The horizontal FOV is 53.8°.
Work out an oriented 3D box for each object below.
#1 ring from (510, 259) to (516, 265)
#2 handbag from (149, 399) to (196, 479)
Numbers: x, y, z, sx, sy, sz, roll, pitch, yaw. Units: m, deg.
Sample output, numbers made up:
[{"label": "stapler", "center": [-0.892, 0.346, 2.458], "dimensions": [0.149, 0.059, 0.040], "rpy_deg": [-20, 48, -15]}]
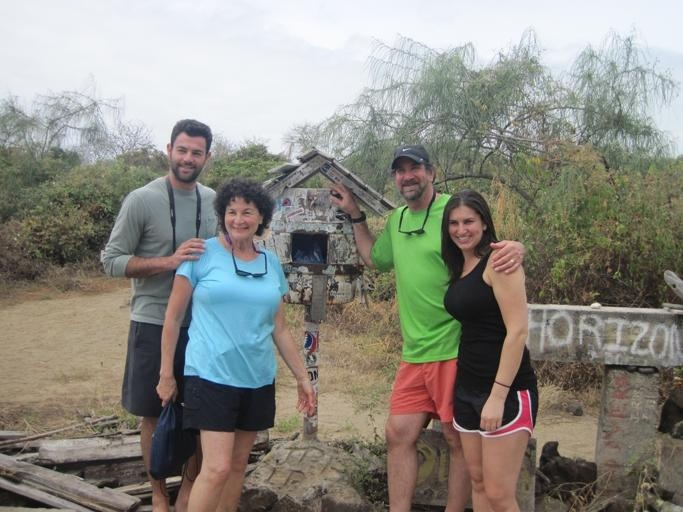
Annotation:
[{"label": "ring", "center": [1.449, 0.051, 5.735], "dimensions": [0.035, 0.039, 0.011], "rpy_deg": [1, -10, 8]}, {"label": "handbag", "center": [-1.539, 1.650, 6.142], "dimensions": [0.279, 0.687, 0.335], "rpy_deg": [15, 10, 35]}]
